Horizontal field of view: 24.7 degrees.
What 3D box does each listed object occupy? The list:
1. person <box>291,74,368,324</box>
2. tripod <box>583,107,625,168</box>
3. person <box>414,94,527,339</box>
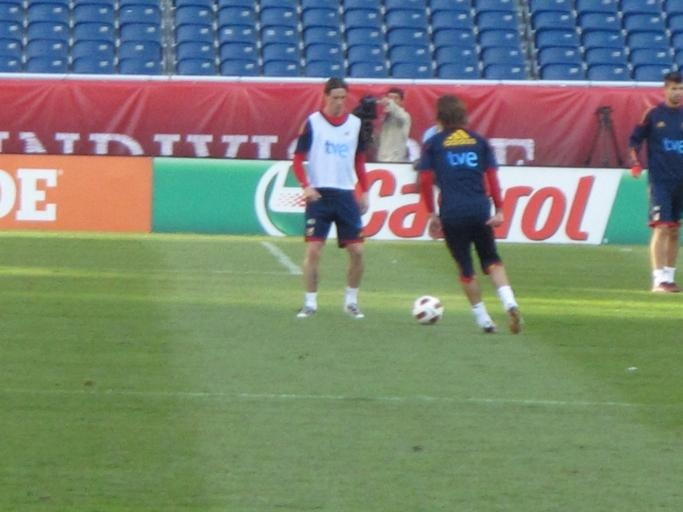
[{"bbox_3d":[-0.142,-0.692,18.080,1.113,2.816,0.821,-10,16,-18],"label":"person"},{"bbox_3d":[4.384,-2.061,26.014,0.597,1.021,0.412,-14,17,-32],"label":"tripod"},{"bbox_3d":[1.429,-0.484,17.468,1.220,2.683,0.643,5,18,32],"label":"person"}]
